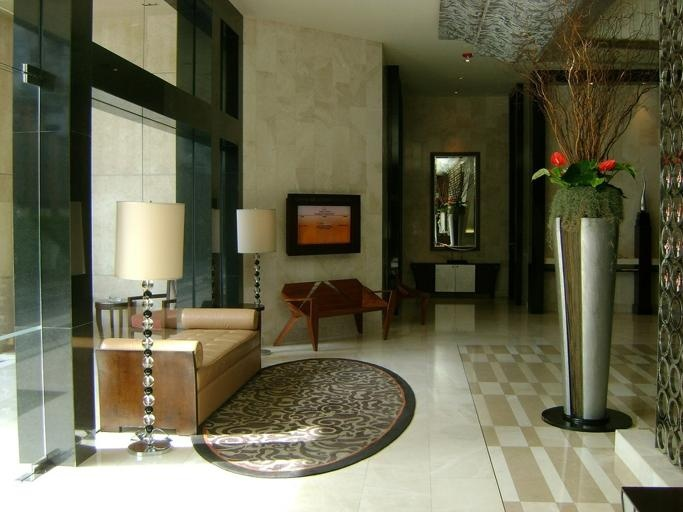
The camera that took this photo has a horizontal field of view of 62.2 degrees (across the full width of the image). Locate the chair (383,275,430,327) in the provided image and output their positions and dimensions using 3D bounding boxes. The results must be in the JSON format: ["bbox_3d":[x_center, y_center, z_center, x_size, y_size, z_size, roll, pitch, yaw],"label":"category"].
[{"bbox_3d":[1.054,0.719,9.456,0.843,1.116,0.722,0,1,9],"label":"chair"}]

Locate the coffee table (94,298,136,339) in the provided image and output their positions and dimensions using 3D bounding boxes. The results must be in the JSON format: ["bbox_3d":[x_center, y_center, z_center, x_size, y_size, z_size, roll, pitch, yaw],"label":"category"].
[{"bbox_3d":[-2.364,0.627,5.805,0.312,0.365,0.313,0,1,35],"label":"coffee table"}]

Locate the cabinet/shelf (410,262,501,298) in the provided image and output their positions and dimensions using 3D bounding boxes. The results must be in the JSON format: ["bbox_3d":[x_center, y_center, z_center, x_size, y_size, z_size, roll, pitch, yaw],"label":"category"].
[{"bbox_3d":[2.511,0.495,12.547,1.852,0.715,0.550,0,4,9],"label":"cabinet/shelf"}]

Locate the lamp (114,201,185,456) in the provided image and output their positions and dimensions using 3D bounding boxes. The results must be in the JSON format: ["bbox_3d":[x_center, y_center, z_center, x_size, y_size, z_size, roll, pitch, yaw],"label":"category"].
[{"bbox_3d":[-1.625,0.583,4.818,0.579,2.083,0.374,-1,7,-5],"label":"lamp"}]

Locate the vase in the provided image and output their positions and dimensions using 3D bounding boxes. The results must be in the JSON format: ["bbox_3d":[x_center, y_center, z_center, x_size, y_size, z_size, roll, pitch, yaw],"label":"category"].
[{"bbox_3d":[2.174,0.469,5.049,0.571,2.153,0.261,2,7,22],"label":"vase"}]

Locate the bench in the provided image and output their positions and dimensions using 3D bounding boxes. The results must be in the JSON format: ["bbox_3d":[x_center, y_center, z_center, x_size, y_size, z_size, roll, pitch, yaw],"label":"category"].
[{"bbox_3d":[-0.070,0.830,8.207,0.827,0.925,1.760,3,3,44],"label":"bench"}]
